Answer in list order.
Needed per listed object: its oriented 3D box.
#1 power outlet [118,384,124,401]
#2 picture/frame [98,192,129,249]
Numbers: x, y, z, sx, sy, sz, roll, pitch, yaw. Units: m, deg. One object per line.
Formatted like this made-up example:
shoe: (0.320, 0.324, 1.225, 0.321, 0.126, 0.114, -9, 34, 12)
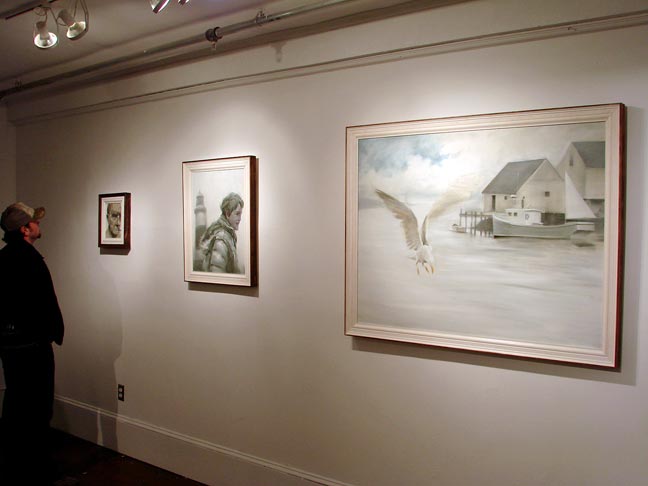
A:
power outlet: (-1.841, 1.397, 4.175, 0.102, 0.154, 0.007, 2, 2, 28)
picture/frame: (-1.883, -0.182, 4.149, 0.440, 0.708, 0.064, 1, 2, 30)
